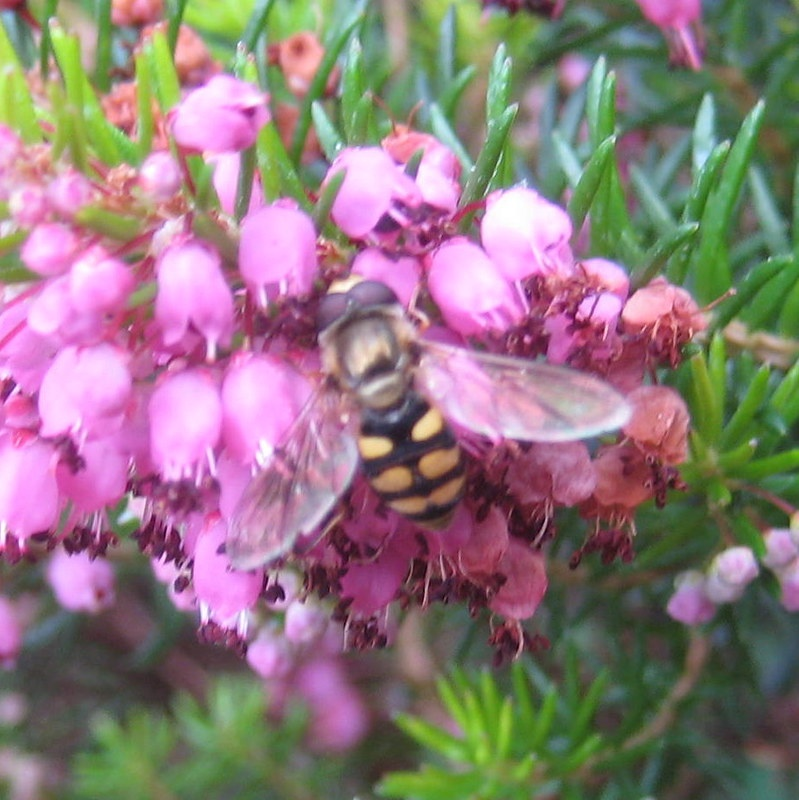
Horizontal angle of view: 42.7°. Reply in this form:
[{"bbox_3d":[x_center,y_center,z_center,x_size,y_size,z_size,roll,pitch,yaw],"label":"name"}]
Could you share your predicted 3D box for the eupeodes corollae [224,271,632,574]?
[{"bbox_3d":[0.027,0.086,0.901,0.299,0.321,0.152,-21,70,35],"label":"eupeodes corollae"}]
